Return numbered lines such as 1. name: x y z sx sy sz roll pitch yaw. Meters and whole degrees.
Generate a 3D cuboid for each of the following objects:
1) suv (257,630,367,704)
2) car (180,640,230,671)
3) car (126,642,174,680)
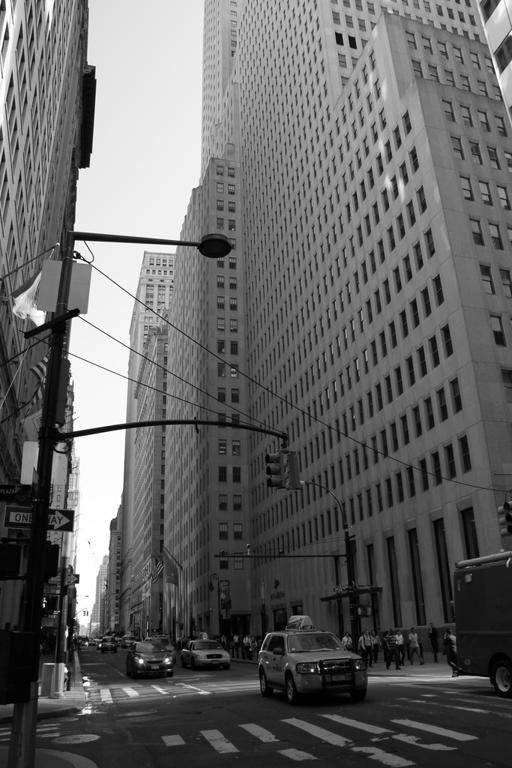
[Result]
1. suv: 1.144 6.533 14.861 1.363 1.524 3.222 5 -35 -15
2. car: -2.937 14.954 33.814 1.182 1.259 3.559 6 -34 -13
3. car: -5.059 12.716 28.564 1.084 1.262 2.942 5 -32 -17
